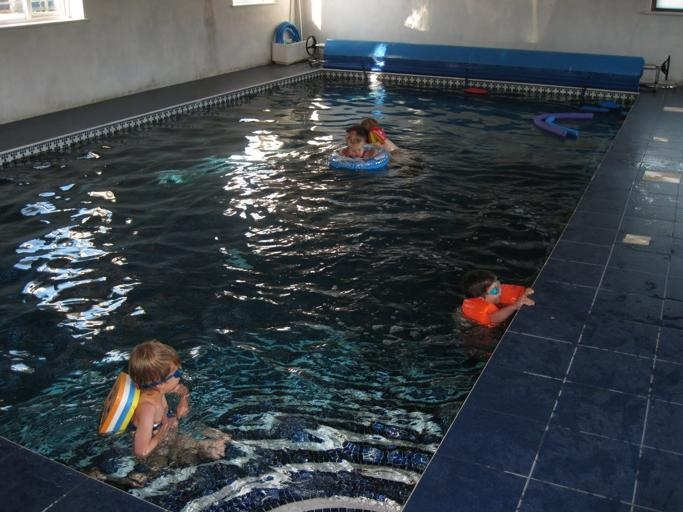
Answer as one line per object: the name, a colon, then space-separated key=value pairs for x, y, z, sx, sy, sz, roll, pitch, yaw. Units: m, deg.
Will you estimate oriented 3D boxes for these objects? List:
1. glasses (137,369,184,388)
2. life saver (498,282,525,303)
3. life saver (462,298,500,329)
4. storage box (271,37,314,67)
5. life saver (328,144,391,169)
glasses: x=-0.928 y=0.637 z=2.711 sx=0.135 sy=0.026 sz=0.098 roll=-21 pitch=26 yaw=-31
life saver: x=1.208 y=0.273 z=3.735 sx=0.181 sy=0.058 sz=0.134 roll=1 pitch=54 yaw=23
life saver: x=0.947 y=0.397 z=3.640 sx=0.212 sy=0.079 sz=0.252 roll=10 pitch=18 yaw=19
storage box: x=-1.199 y=-5.017 z=12.914 sx=0.976 sy=0.554 sz=0.599 roll=-12 pitch=27 yaw=-26
life saver: x=0.217 y=-1.211 z=6.625 sx=0.786 sy=0.209 sz=0.389 roll=0 pitch=22 yaw=1
